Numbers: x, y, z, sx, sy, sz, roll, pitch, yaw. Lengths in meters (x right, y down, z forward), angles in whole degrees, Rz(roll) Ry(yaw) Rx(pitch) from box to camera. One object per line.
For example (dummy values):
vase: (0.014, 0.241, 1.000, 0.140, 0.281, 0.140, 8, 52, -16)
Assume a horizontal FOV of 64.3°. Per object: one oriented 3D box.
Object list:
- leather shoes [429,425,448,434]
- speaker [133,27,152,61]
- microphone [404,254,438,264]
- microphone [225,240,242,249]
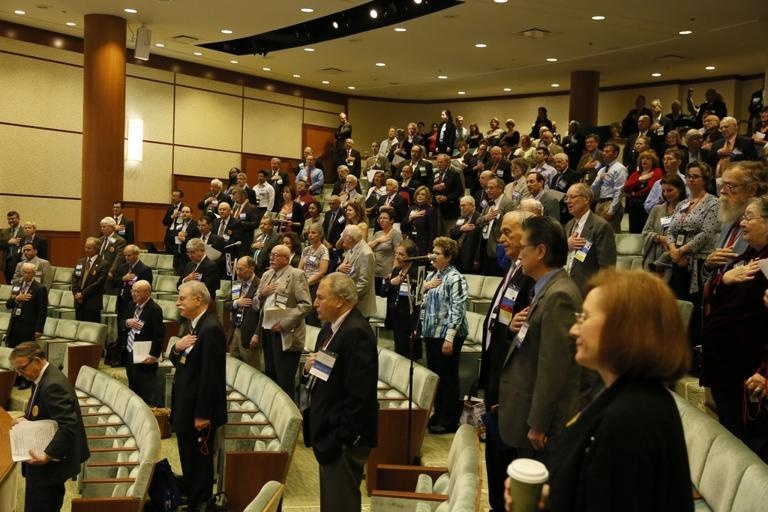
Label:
leather shoes: (0.575, 1.800, 6.390, 0.174, 0.070, 0.081, 9, -2, -9)
speaker: (-5.162, -4.586, 13.099, 0.287, 0.570, 0.522, 3, 1, -26)
microphone: (0.381, 0.045, 5.339, 0.103, 0.081, 0.468, 8, 2, 26)
microphone: (-2.496, -0.189, 10.165, 0.085, 0.097, 0.377, -1, -11, -37)
